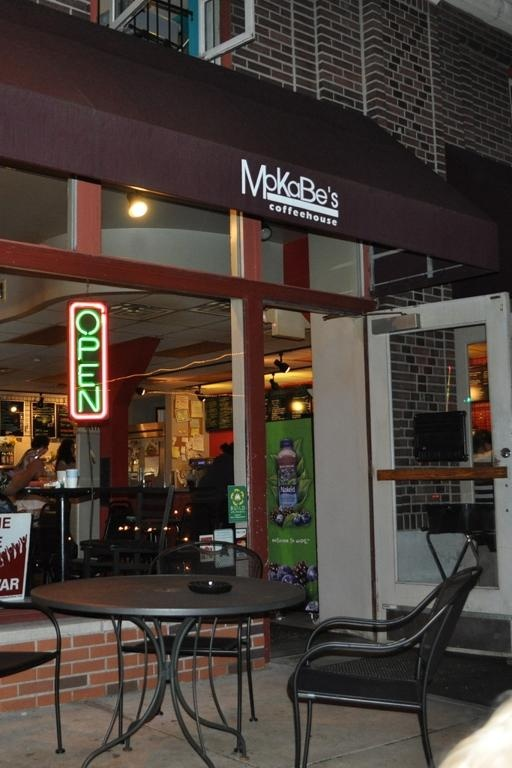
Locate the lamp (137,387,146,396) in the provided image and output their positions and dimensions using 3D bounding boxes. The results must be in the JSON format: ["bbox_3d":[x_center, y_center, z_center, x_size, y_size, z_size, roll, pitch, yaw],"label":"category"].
[{"bbox_3d":[-0.751,0.048,4.969,0.050,0.053,0.091,8,0,5],"label":"lamp"}]

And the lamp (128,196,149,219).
[{"bbox_3d":[-0.621,-0.930,4.016,0.107,0.117,0.084,8,-3,-2],"label":"lamp"}]

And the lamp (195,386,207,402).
[{"bbox_3d":[-0.381,0.065,5.258,0.081,0.098,0.163,-2,-6,0],"label":"lamp"}]

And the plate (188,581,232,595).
[{"bbox_3d":[-0.153,0.671,2.499,0.112,0.037,0.127,-5,-7,29],"label":"plate"}]

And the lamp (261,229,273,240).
[{"bbox_3d":[0.069,-0.918,4.661,0.060,0.077,0.056,-3,38,-8],"label":"lamp"}]

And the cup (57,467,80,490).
[{"bbox_3d":[-1.232,0.621,4.960,0.094,0.166,0.167,0,-7,-1],"label":"cup"}]
